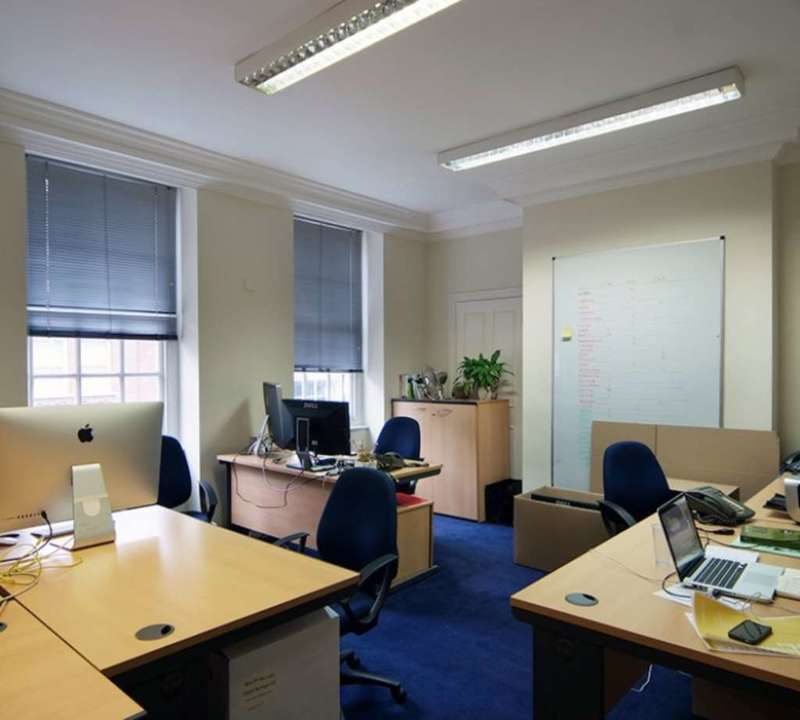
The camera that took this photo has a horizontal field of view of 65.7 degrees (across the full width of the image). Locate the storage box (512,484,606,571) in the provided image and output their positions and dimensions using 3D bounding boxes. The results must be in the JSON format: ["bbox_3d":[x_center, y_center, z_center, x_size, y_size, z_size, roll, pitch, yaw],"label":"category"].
[{"bbox_3d":[1.029,1.106,4.056,0.358,0.505,0.654,0,-3,-43],"label":"storage box"}]

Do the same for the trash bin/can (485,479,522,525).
[{"bbox_3d":[0.884,1.238,5.344,0.202,0.424,0.411,-3,-5,36],"label":"trash bin/can"}]

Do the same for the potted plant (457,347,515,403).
[{"bbox_3d":[0.822,0.133,6.115,0.580,0.482,0.437,1,3,7],"label":"potted plant"}]

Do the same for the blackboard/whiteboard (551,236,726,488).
[{"bbox_3d":[1.721,0.082,4.679,1.288,1.908,0.176,3,4,44],"label":"blackboard/whiteboard"}]

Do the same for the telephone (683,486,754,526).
[{"bbox_3d":[1.507,0.702,2.965,0.205,0.114,0.300,-2,7,-34],"label":"telephone"}]

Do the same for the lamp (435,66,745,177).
[{"bbox_3d":[1.200,-1.547,4.086,1.868,0.200,0.326,3,4,40],"label":"lamp"}]

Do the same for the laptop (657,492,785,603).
[{"bbox_3d":[1.166,0.659,2.283,0.429,0.292,0.472,-5,-4,-13],"label":"laptop"}]

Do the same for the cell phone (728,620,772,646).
[{"bbox_3d":[1.040,0.799,1.849,0.068,0.019,0.063,-12,5,-41],"label":"cell phone"}]

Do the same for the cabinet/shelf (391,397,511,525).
[{"bbox_3d":[0.389,0.802,6.336,1.405,1.680,0.841,-3,-6,39],"label":"cabinet/shelf"}]

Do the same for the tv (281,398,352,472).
[{"bbox_3d":[-0.596,0.462,4.097,0.498,0.380,0.124,3,7,20],"label":"tv"}]

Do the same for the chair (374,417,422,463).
[{"bbox_3d":[-0.020,0.605,4.717,0.269,0.412,0.320,-2,-10,21],"label":"chair"}]
